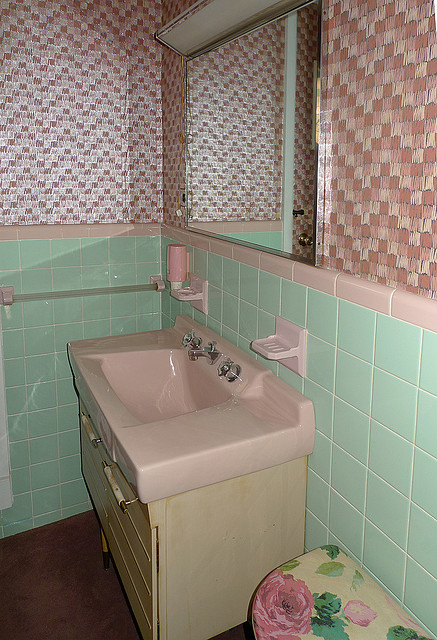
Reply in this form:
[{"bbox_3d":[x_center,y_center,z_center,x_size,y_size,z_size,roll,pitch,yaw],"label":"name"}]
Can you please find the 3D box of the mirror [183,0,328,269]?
[{"bbox_3d":[0.103,-0.503,1.228,0.013,0.622,0.784,-3,13,-19],"label":"mirror"}]
